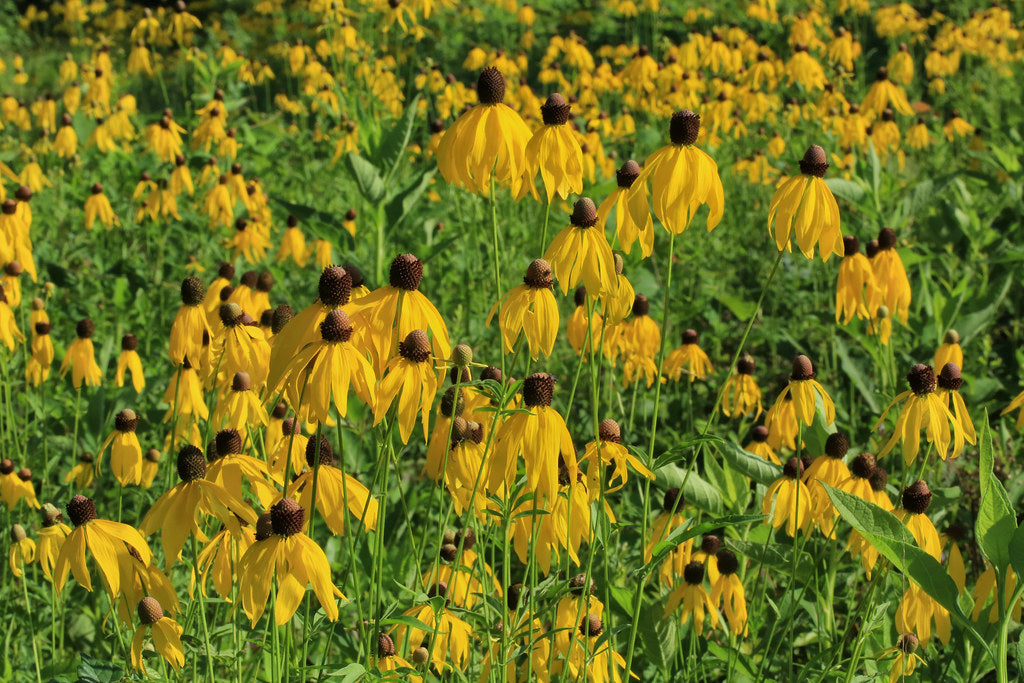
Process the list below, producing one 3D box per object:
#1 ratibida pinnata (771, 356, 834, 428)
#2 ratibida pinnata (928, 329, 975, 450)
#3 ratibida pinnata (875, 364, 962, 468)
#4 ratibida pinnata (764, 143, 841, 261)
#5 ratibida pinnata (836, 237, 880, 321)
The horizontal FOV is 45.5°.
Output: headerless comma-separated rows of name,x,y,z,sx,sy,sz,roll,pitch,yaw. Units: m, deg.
ratibida pinnata,1.390,0.177,5.671,0.316,0.316,0.420,-5,10,-7
ratibida pinnata,2.014,0.212,5.547,0.186,0.610,0.366,-2,1,36
ratibida pinnata,1.815,0.289,5.468,0.348,0.427,0.408,4,9,44
ratibida pinnata,1.290,-0.635,5.239,0.280,0.487,0.462,8,14,19
ratibida pinnata,1.670,-0.308,5.890,0.183,0.426,0.591,-2,5,17
